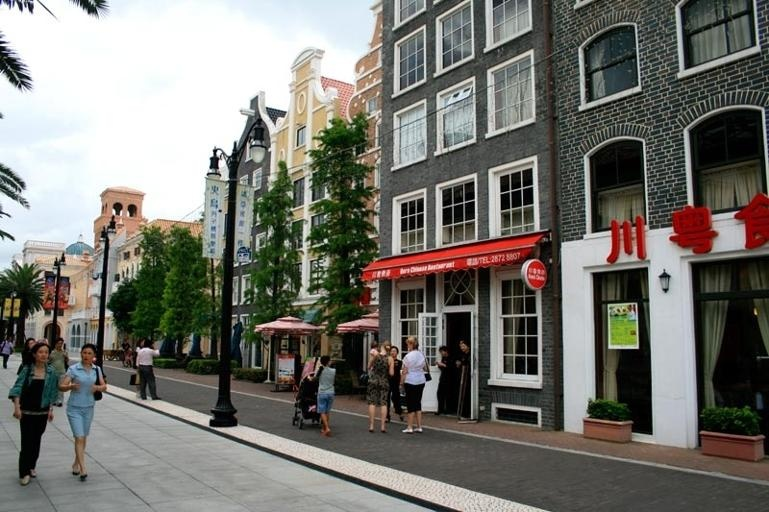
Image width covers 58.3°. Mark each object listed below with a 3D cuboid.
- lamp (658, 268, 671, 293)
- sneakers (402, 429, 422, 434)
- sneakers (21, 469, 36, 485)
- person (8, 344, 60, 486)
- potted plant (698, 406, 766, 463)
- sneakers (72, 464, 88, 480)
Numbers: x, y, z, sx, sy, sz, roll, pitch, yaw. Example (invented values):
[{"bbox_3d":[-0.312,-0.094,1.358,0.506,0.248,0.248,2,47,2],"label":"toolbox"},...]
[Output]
[{"bbox_3d":[7.333,0.639,18.076,0.131,0.647,0.276,1,0,-44],"label":"lamp"},{"bbox_3d":[0.772,4.925,19.339,0.510,0.203,0.191,-3,-17,18],"label":"sneakers"},{"bbox_3d":[-7.169,4.477,13.892,0.122,0.114,0.320,0,-10,5],"label":"sneakers"},{"bbox_3d":[-7.119,3.175,14.013,0.807,2.812,0.623,1,0,-37],"label":"person"},{"bbox_3d":[8.194,4.198,16.293,1.292,1.289,0.485,1,0,26],"label":"potted plant"},{"bbox_3d":[-6.307,4.529,14.239,0.169,0.220,0.562,11,-19,-35],"label":"sneakers"}]
